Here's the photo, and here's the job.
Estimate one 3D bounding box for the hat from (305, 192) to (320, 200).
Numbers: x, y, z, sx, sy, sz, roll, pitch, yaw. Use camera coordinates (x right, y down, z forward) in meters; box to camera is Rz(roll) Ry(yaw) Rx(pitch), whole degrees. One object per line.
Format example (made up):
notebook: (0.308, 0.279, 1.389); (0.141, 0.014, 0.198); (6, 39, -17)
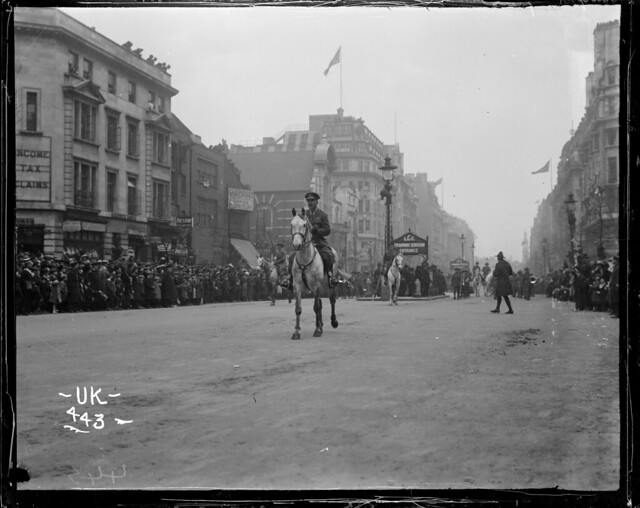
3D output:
hat: (-0.189, -1.281, 17.794); (0.263, 0.167, 0.575); (0, 4, 1)

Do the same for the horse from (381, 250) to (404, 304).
horse: (2.941, 1.192, 33.638); (0.609, 1.966, 2.715); (3, -15, -6)

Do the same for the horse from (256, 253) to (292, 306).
horse: (-1.898, 1.120, 36.559); (0.760, 2.157, 2.842); (-1, -4, 35)

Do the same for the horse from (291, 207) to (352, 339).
horse: (-0.136, 0.540, 17.686); (0.744, 2.596, 3.127); (-1, -4, 12)

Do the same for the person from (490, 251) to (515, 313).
person: (5.740, 0.905, 26.097); (0.610, 1.945, 0.661); (-4, 9, -20)

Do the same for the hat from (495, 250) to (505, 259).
hat: (3.570, 0.026, 16.424); (0.186, 0.082, 0.189); (3, -3, 0)
